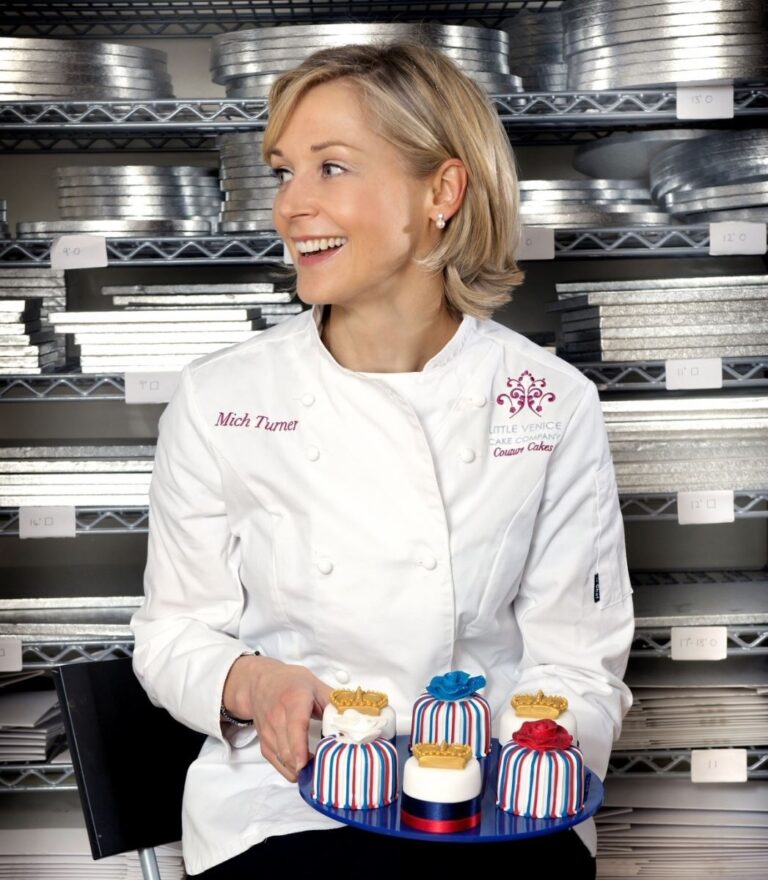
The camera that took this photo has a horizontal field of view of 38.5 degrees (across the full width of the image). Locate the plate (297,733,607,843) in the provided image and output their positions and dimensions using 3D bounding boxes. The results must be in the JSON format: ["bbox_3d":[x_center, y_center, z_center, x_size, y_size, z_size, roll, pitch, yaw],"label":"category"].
[{"bbox_3d":[0.079,0.364,1.136,0.294,0.025,0.215,-5,6,-24],"label":"plate"}]
